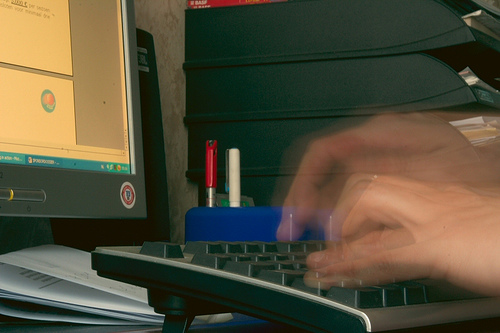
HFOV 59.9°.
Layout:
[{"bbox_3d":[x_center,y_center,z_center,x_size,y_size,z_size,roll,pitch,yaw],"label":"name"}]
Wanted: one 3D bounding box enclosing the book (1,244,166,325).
[{"bbox_3d":[-0.274,0.191,0.671,0.173,0.045,0.169,5,5,-20],"label":"book"}]
